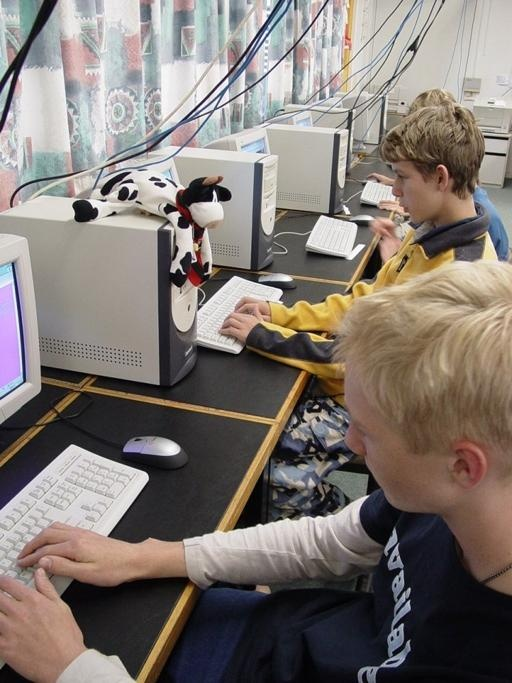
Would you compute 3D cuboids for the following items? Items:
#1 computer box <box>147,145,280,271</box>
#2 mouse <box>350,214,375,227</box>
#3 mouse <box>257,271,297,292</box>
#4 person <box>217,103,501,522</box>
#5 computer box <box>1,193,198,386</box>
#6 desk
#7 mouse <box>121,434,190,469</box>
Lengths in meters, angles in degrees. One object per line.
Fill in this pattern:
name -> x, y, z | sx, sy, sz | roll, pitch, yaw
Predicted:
computer box -> -0.096, -0.461, 1.880 | 0.331, 0.332, 0.197 | 10, 24, 23
mouse -> 0.498, -0.573, 2.463 | 0.106, 0.038, 0.062 | 0, 34, 11
mouse -> 0.072, -0.207, 1.740 | 0.094, 0.033, 0.066 | 12, 16, 13
person -> 0.333, -0.198, 2.131 | 1.087, 1.871, 0.849 | 4, 7, 10
computer box -> -0.287, -0.154, 1.250 | 0.487, 0.432, 0.279 | 5, 25, 6
desk -> 0.145, 0.186, 1.871 | 0.926, 1.081, 1.725 | 14, 43, 15
mouse -> -0.176, 0.180, 0.901 | 0.095, 0.033, 0.052 | 12, 23, 3
